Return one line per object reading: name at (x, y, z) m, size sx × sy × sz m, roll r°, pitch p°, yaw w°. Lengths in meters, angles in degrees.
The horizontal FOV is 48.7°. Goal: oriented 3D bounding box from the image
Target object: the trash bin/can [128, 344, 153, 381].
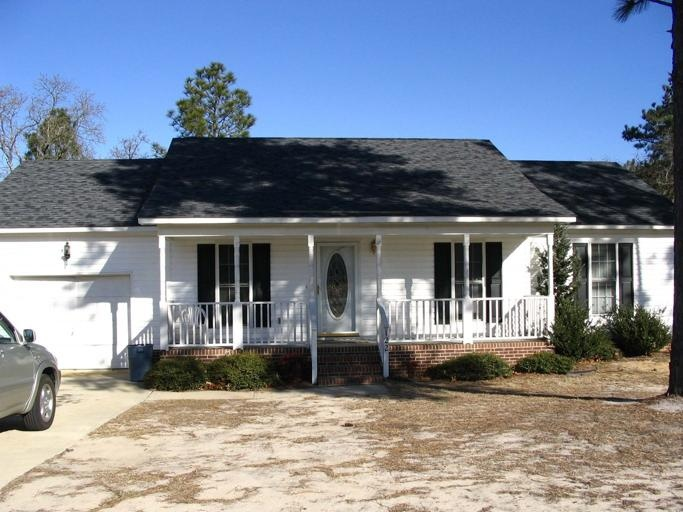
trash bin/can at (-5.398, 2.762, 19.744) m, size 0.731 × 0.939 × 0.853 m, roll 3°, pitch -6°, yaw -34°
